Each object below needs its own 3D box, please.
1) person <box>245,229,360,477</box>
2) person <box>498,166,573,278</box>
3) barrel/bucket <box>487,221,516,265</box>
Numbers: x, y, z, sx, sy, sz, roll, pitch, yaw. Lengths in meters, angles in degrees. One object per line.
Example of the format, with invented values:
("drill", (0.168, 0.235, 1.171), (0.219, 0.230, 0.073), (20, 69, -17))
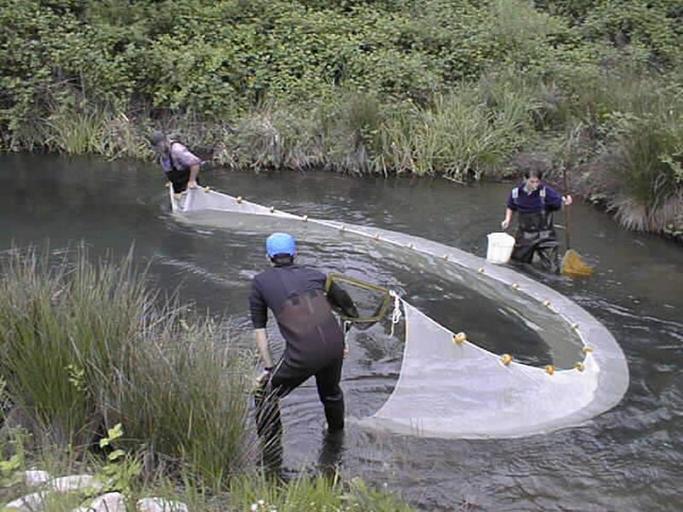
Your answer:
("person", (-0.456, 0.986, 7.913), (1.133, 2.340, 0.838), (4, 9, -1))
("person", (3.006, -0.589, 11.523), (0.939, 1.573, 0.469), (7, 9, 16))
("barrel/bucket", (2.460, -0.134, 11.531), (0.433, 0.480, 0.464), (2, 3, 0))
